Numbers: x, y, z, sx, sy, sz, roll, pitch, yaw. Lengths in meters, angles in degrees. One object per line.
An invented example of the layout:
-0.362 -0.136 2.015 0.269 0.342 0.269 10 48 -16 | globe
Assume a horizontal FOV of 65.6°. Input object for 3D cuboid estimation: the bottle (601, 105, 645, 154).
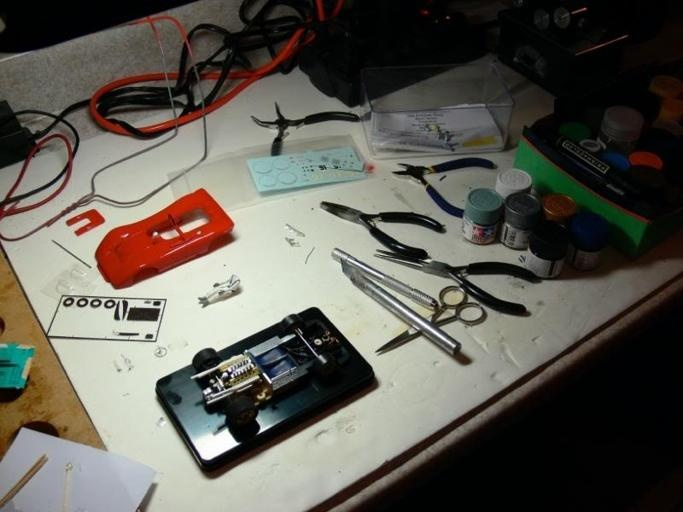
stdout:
0.501 -0.230 0.949 0.072 0.083 0.057 -21 40 -31 | bottle
